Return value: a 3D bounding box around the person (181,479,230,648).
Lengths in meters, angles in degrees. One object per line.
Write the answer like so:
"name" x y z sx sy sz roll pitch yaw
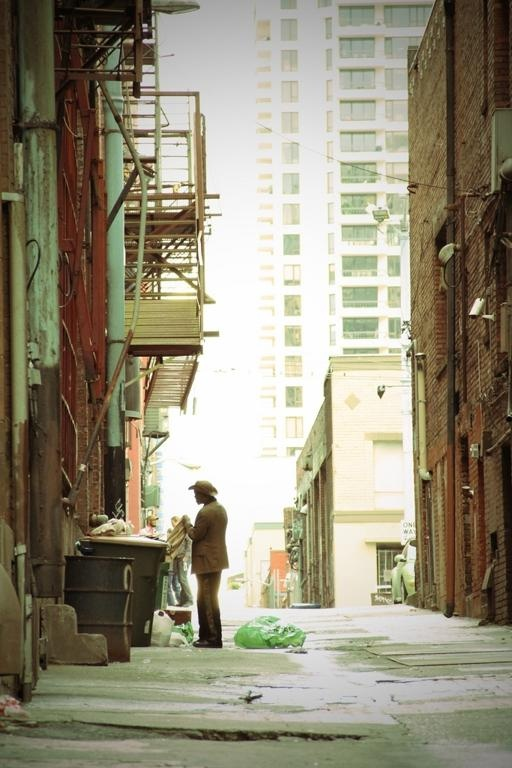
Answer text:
"person" -0.454 1.630 13.644 0.389 1.492 0.477 1 -8 -4

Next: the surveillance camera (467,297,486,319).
"surveillance camera" 2.591 -0.889 17.898 0.090 0.089 0.349 -20 28 23

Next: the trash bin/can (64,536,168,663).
"trash bin/can" -1.129 1.583 11.312 0.711 1.365 0.826 1 -11 -6
